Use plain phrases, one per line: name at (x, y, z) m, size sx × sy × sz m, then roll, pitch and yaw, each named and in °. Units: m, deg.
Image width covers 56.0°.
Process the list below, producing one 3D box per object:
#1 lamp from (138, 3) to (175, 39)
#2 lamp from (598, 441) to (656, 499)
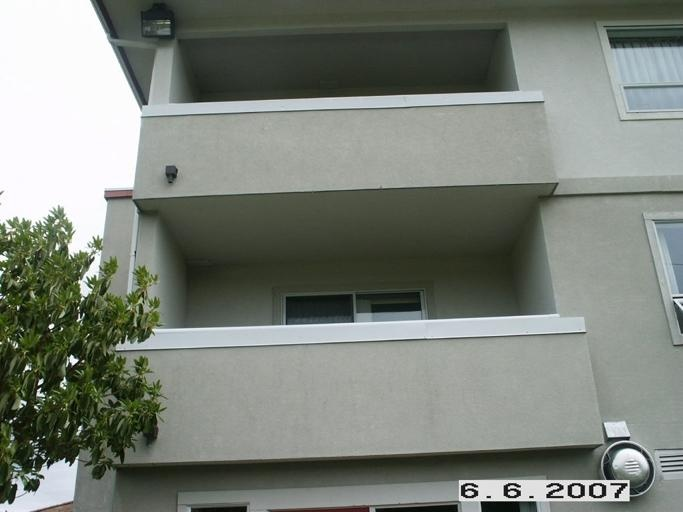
lamp at (-2.870, -3.662, 9.995) m, size 0.454 × 0.521 × 0.262 m, roll 0°, pitch -7°, yaw -3°
lamp at (3.636, 2.655, 8.091) m, size 0.702 × 0.652 × 0.288 m, roll 4°, pitch -28°, yaw -11°
